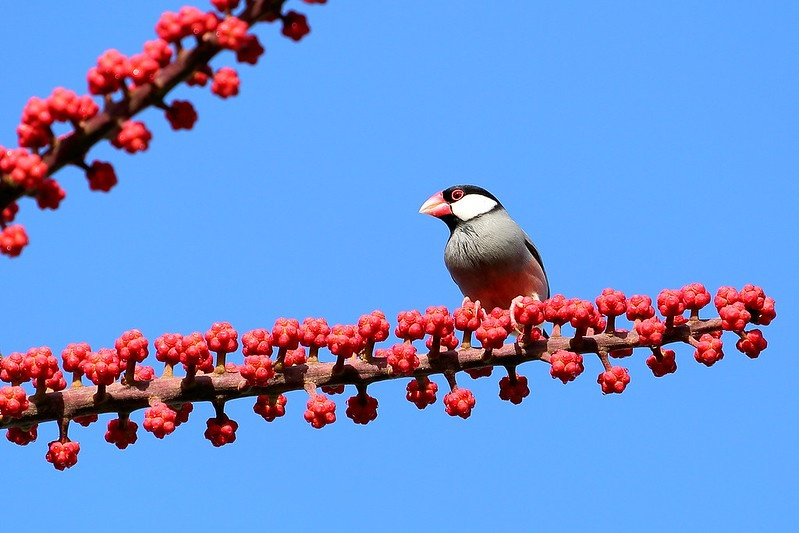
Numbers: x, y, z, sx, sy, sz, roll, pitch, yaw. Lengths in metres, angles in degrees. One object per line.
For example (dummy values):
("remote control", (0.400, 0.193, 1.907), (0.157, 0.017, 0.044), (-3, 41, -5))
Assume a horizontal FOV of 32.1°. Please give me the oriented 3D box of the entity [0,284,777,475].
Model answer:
("entity", (-0.274, 0.561, 8.111), (4.321, 0.622, 0.650), (-5, -15, -14))
